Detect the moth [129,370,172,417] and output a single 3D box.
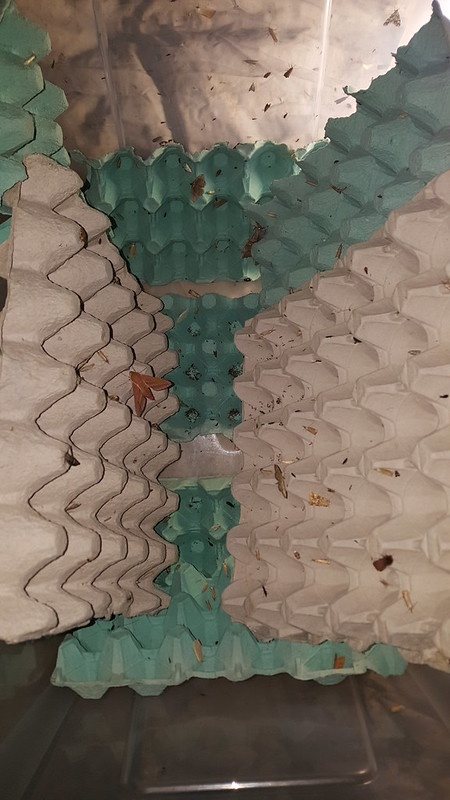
[{"bbox_3d":[-0.312,-0.047,2.537,0.056,0.204,0.145,5,-35,30],"label":"moth"}]
